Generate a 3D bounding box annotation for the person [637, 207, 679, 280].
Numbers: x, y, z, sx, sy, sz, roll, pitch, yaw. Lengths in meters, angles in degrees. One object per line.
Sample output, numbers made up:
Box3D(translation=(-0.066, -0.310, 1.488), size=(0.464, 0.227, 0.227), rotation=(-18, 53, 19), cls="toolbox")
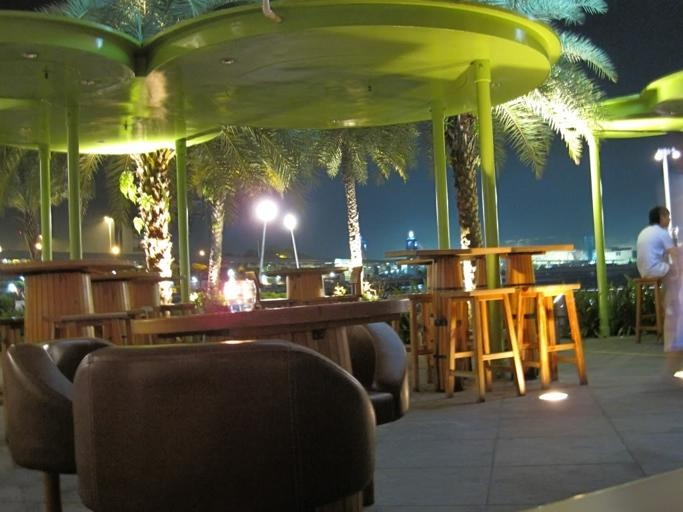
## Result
Box3D(translation=(4.900, -0.168, 8.822), size=(0.525, 1.135, 0.803), rotation=(1, 8, 25), cls="person")
